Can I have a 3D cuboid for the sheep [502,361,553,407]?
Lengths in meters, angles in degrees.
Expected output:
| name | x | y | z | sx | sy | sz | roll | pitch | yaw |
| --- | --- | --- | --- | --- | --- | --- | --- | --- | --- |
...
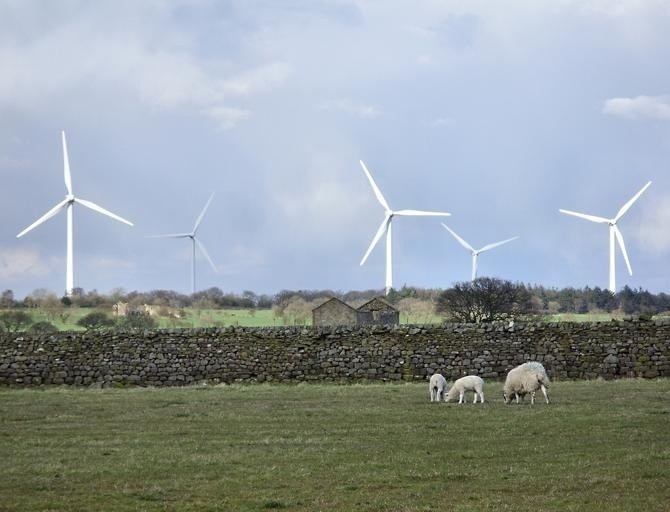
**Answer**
| name | x | y | z | sx | sy | sz | roll | pitch | yaw |
| --- | --- | --- | --- | --- | --- | --- | --- | --- | --- |
| sheep | 6.629 | 4.411 | 39.905 | 1.497 | 1.455 | 1.634 | -1 | 4 | 8 |
